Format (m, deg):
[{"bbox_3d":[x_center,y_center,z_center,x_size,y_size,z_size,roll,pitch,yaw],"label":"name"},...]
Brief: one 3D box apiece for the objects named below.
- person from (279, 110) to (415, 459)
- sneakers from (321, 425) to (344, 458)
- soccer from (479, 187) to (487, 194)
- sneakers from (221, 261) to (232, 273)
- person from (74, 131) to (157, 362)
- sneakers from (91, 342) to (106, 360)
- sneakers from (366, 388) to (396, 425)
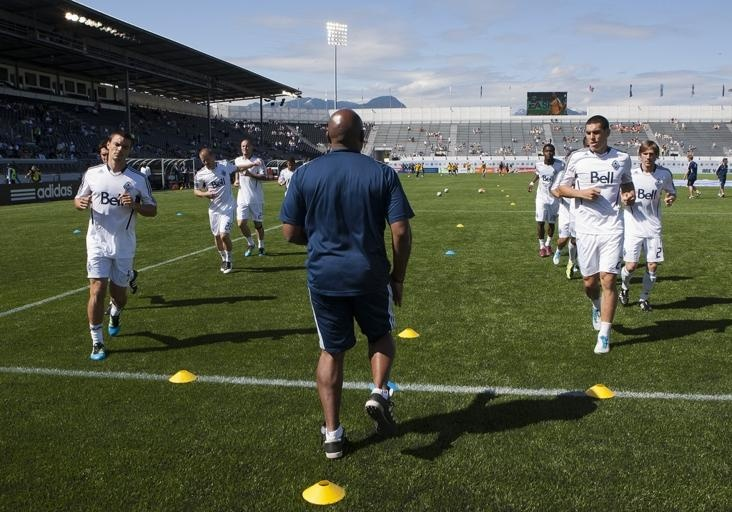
[{"bbox_3d":[-0.065,0.183,4.114,0.828,2.336,0.705,-8,16,-23],"label":"person"},{"bbox_3d":[-0.217,1.300,4.253,0.146,0.160,0.393,-4,8,7],"label":"sneakers"},{"bbox_3d":[5.646,-3.178,28.352,0.450,0.283,0.514,-4,6,-3],"label":"soccer"},{"bbox_3d":[-2.203,0.177,9.455,0.178,0.199,0.474,0,-1,-15],"label":"sneakers"},{"bbox_3d":[-2.591,-0.159,5.978,0.618,2.147,1.011,3,15,15],"label":"person"},{"bbox_3d":[-2.579,0.912,5.720,0.148,0.118,0.272,-8,17,-24],"label":"sneakers"},{"bbox_3d":[0.112,1.067,4.135,0.185,0.291,0.227,-1,15,1],"label":"sneakers"}]
